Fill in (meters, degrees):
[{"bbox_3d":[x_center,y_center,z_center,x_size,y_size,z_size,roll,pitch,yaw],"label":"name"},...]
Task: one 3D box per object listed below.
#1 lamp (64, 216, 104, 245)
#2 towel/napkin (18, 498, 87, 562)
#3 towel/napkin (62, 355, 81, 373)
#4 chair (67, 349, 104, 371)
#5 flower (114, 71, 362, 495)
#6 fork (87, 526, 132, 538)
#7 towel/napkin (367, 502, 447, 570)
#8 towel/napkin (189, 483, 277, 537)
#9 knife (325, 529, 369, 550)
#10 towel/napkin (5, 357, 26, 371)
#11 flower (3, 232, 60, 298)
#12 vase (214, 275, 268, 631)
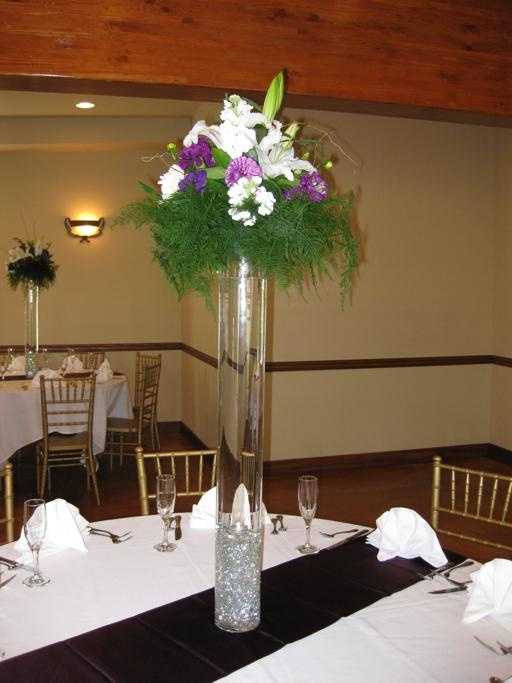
[{"bbox_3d":[-1.945,-1.287,6.484,0.446,0.295,0.161,0,1,-17],"label":"lamp"},{"bbox_3d":[-0.554,0.505,1.599,0.130,0.060,0.163,19,28,-20],"label":"towel/napkin"},{"bbox_3d":[-1.693,0.207,5.244,0.142,0.132,0.085,1,-10,-4],"label":"towel/napkin"},{"bbox_3d":[-1.852,0.184,6.347,0.309,0.266,0.364,-1,8,-16],"label":"chair"},{"bbox_3d":[0.010,-0.272,1.308,0.475,0.587,0.437,-27,24,-36],"label":"flower"},{"bbox_3d":[-0.441,0.571,1.715,0.173,0.024,0.025,1,30,16],"label":"fork"},{"bbox_3d":[0.416,0.522,1.553,0.135,0.064,0.164,0,1,7],"label":"towel/napkin"},{"bbox_3d":[-0.032,0.524,1.770,0.186,0.060,0.237,5,-3,-5],"label":"towel/napkin"},{"bbox_3d":[0.275,0.573,1.665,0.045,0.008,0.155,0,1,29],"label":"knife"},{"bbox_3d":[-2.306,0.205,5.503,0.141,0.063,0.178,1,3,-4],"label":"towel/napkin"},{"bbox_3d":[-2.260,-0.747,5.707,0.574,0.715,0.710,1,6,-8],"label":"flower"},{"bbox_3d":[-0.034,0.215,1.226,0.103,0.750,0.168,0,1,-3],"label":"vase"}]
